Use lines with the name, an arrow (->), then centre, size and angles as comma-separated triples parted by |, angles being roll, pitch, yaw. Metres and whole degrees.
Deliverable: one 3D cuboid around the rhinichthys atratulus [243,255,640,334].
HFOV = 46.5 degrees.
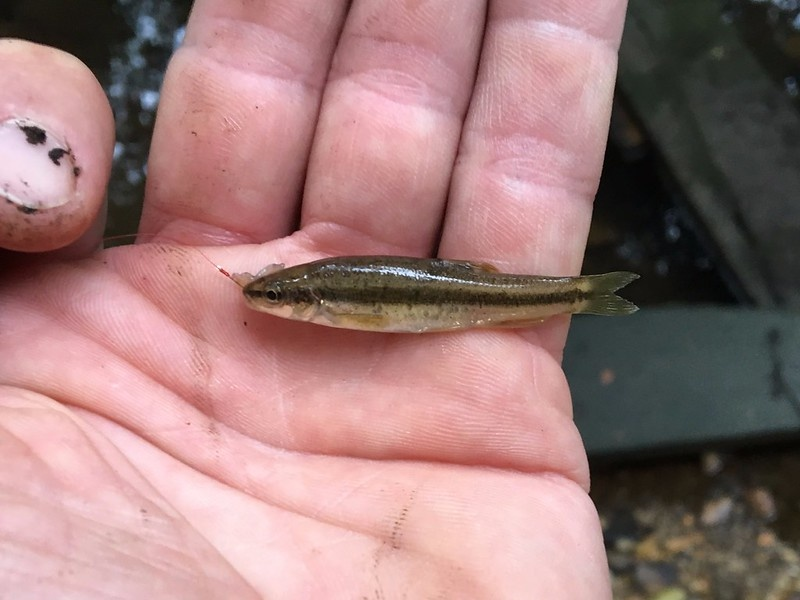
rhinichthys atratulus -> 0.080, 0.030, 5.574 | 2.308, 1.347, 0.575 | 1, 98, -21
